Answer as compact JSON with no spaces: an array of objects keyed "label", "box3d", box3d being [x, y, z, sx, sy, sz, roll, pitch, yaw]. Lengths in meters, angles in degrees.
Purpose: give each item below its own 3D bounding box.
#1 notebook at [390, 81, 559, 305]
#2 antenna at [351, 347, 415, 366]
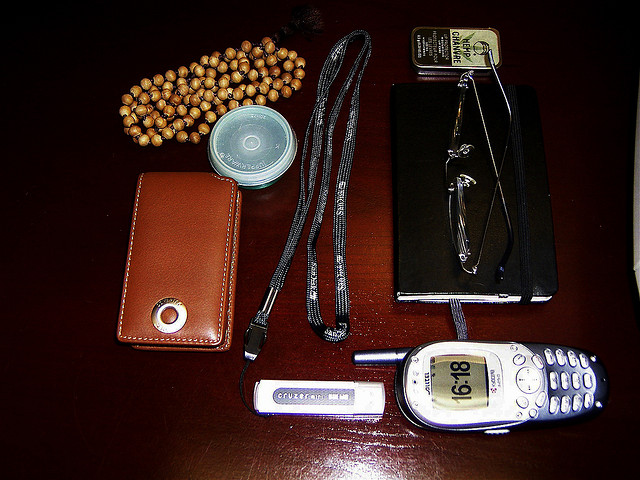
[{"label":"notebook","box3d":[0.290,-0.100,1.118,0.303,0.137,0.421,-1,63,5]},{"label":"antenna","box3d":[0.111,0.204,1.023,0.088,0.024,0.027,-4,105,1]}]
